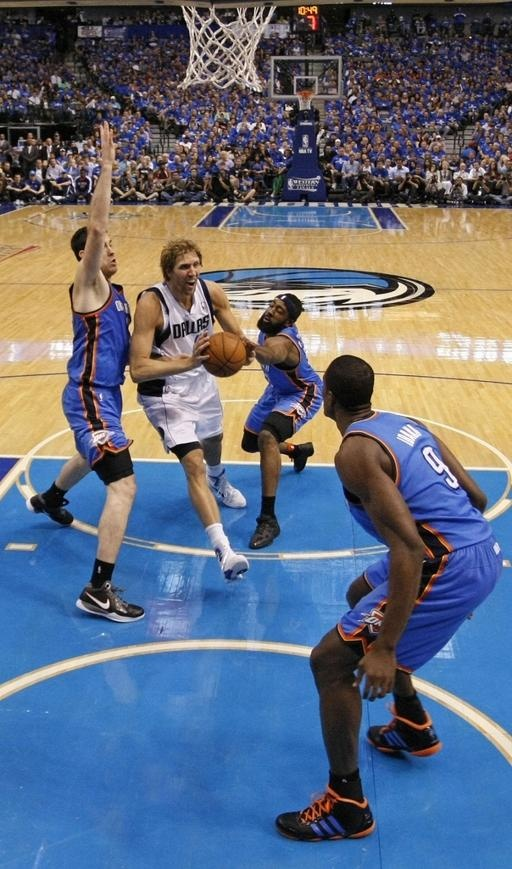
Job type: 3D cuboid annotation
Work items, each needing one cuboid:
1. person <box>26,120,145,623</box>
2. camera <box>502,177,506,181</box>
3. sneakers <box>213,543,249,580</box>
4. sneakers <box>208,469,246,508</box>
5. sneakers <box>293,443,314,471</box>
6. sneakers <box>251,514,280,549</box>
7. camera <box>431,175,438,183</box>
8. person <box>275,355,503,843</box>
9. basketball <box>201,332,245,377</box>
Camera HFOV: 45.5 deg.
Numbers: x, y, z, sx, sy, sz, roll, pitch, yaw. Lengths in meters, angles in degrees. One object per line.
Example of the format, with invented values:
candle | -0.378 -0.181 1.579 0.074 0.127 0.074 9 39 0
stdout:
person | -0.791 -0.367 2.844 0.497 2.219 1.015 -4 12 -17
camera | 7.085 -7.282 17.484 0.098 0.149 0.060 -7 13 -30
sneakers | -0.101 0.575 2.716 0.080 0.233 0.169 -20 68 -25
sneakers | -0.179 0.338 3.694 0.219 0.100 0.076 40 36 -7
sneakers | 0.319 0.140 4.127 0.122 0.261 0.086 -8 40 -13
sneakers | 0.064 0.527 3.310 0.079 0.120 0.247 0 13 19
camera | 5.212 -7.461 17.870 0.151 0.104 0.231 12 64 4
person | 0.344 0.430 1.549 0.460 1.226 0.586 6 13 30
basketball | -0.146 -0.410 3.066 0.198 0.228 0.209 -8 -9 10
